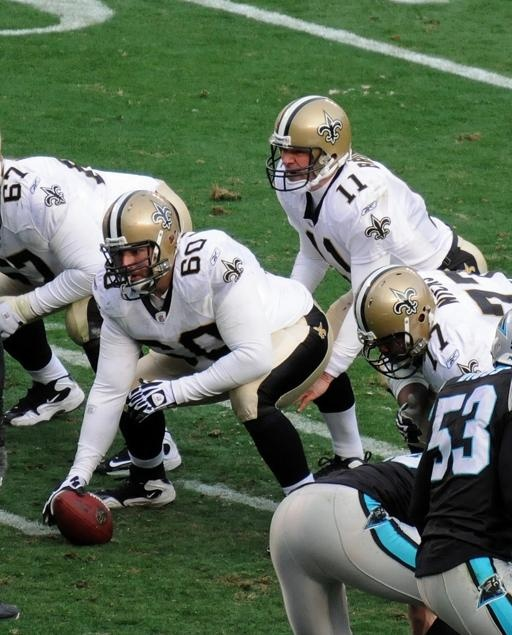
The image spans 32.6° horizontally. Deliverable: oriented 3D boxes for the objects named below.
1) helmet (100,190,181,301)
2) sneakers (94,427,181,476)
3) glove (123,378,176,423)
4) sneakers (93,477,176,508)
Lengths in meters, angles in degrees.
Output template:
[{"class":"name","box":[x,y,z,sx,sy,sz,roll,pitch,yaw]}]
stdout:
[{"class":"helmet","box":[-0.446,-0.291,3.388,0.297,0.299,0.353,10,31,-10]},{"class":"sneakers","box":[-0.595,0.699,4.322,0.564,0.233,0.161,0,-7,-13]},{"class":"glove","box":[-0.426,0.347,3.496,0.142,0.172,0.175,37,38,29]},{"class":"sneakers","box":[-0.510,0.794,3.967,0.408,0.139,0.126,1,3,0]}]
